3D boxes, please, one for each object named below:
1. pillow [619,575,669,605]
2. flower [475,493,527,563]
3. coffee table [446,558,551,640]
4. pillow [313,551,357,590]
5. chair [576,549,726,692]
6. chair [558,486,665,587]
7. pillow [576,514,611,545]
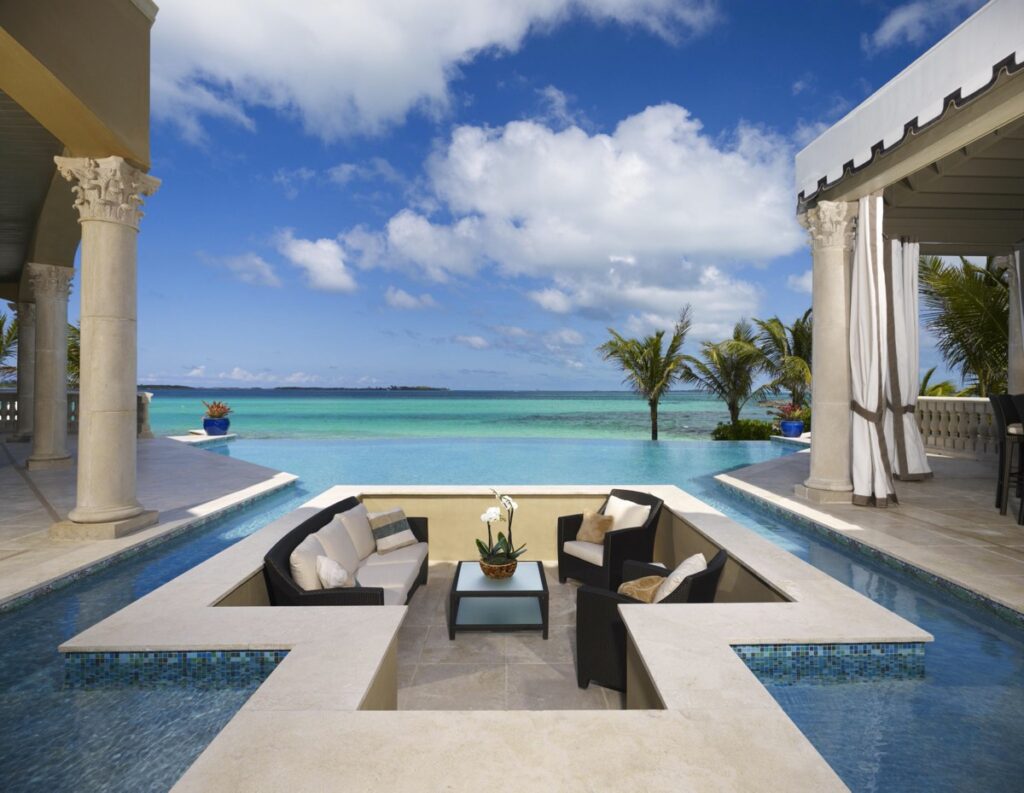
[{"bbox_3d":[1.039,1.450,4.820,0.259,0.107,0.245,-9,5,-22],"label":"pillow"},{"bbox_3d":[-0.131,1.375,6.156,0.604,0.733,0.575,3,-8,-20],"label":"flower"},{"bbox_3d":[-0.127,1.928,5.910,0.895,0.483,0.881,-2,1,-1],"label":"coffee table"},{"bbox_3d":[-1.433,1.431,5.024,0.296,0.258,0.211,-2,2,-13],"label":"pillow"},{"bbox_3d":[0.967,1.917,4.974,0.919,1.001,0.790,3,-16,30],"label":"chair"},{"bbox_3d":[1.100,1.586,6.818,0.892,0.958,0.863,0,2,-33],"label":"chair"},{"bbox_3d":[0.889,1.458,6.813,0.302,0.286,0.093,13,-21,38],"label":"pillow"}]
